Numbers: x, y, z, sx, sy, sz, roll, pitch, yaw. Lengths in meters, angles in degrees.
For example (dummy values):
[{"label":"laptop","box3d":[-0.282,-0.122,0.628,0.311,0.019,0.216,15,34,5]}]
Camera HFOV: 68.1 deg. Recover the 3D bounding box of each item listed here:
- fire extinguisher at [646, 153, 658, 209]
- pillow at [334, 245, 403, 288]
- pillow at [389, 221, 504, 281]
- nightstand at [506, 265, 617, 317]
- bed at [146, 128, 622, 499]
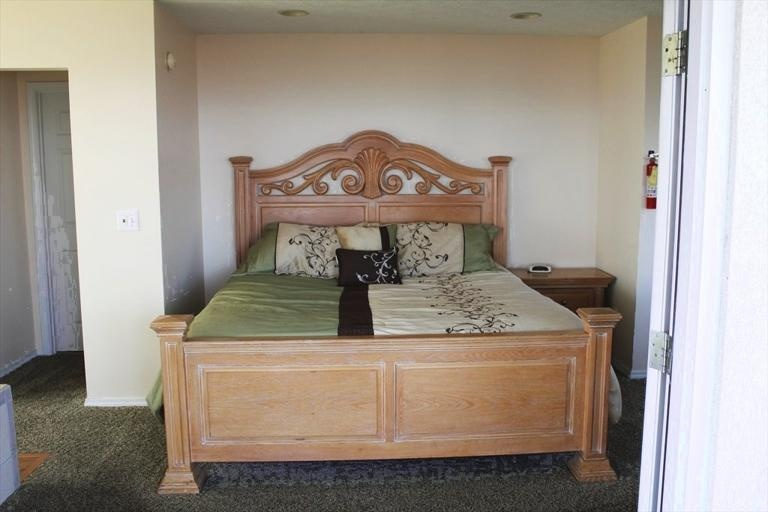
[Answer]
[{"label":"fire extinguisher","box3d":[1.965,-0.559,4.178,0.076,0.418,0.105,1,8,18]},{"label":"pillow","box3d":[-0.125,0.049,4.181,0.454,0.120,0.239,-4,41,7]},{"label":"pillow","box3d":[0.340,-0.106,4.548,1.070,0.330,0.427,-4,37,-19]},{"label":"nightstand","box3d":[1.472,0.410,4.783,0.735,0.550,0.419,1,14,7]},{"label":"bed","box3d":[0.018,0.103,4.001,2.551,1.567,2.412,1,21,-2]}]
